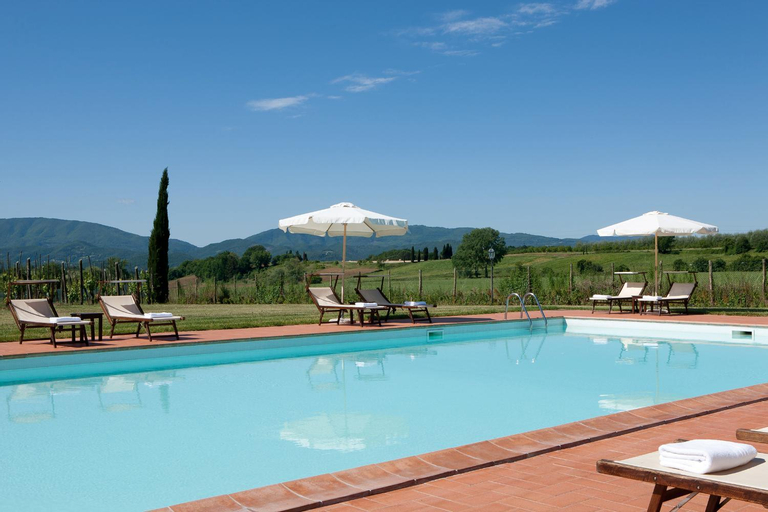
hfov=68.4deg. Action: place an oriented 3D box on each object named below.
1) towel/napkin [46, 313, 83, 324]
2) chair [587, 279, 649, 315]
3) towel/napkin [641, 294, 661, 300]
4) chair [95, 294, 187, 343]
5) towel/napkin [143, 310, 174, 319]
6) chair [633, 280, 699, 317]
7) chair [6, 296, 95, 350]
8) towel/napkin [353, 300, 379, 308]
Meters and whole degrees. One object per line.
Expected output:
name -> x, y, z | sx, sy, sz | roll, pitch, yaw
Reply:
towel/napkin -> -5.778, 1.167, 10.245 | 0.667, 0.091, 0.449 | -2, -3, -13
chair -> 7.012, 1.209, 16.586 | 1.900, 0.943, 1.119 | 2, -6, -35
towel/napkin -> 7.502, 1.167, 15.879 | 0.492, 0.142, 0.780 | -3, -3, 23
chair -> -5.101, 1.242, 11.444 | 1.847, 0.737, 0.928 | -3, -3, 41
towel/napkin -> -4.430, 1.192, 11.142 | 0.532, 0.107, 0.412 | -1, -3, -20
chair -> 8.031, 1.194, 16.082 | 1.898, 0.870, 1.033 | 1, -5, -30
chair -> -6.293, 1.176, 10.559 | 1.726, 0.729, 1.001 | 1, 0, 44
towel/napkin -> -0.434, 1.170, 13.314 | 0.564, 0.104, 0.277 | -2, -2, -7
